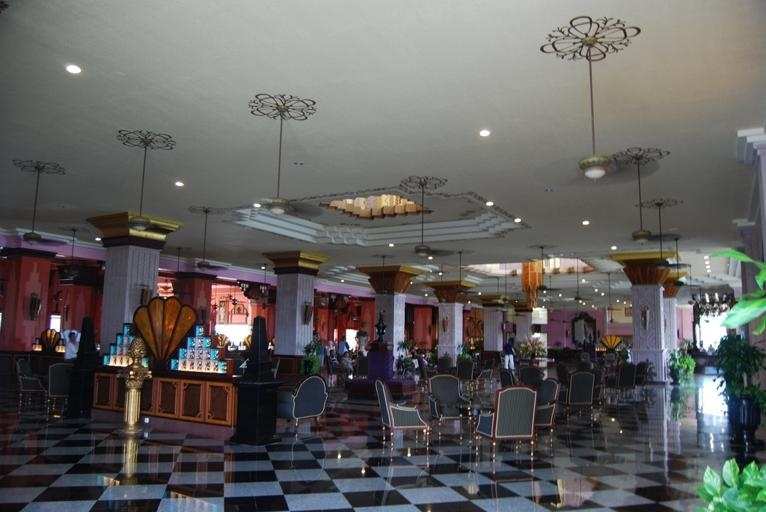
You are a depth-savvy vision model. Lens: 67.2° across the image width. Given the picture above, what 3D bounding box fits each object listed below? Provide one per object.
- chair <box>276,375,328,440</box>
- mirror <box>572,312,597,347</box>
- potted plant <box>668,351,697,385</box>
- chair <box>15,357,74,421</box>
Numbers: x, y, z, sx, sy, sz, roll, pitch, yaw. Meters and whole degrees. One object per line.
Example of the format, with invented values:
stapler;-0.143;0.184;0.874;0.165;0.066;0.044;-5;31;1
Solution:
chair;-1.574;3.008;11.932;1.036;1.383;1.134;0;-4;42
mirror;14.026;5.036;40.217;0.125;2.765;2.343;6;-9;-34
potted plant;10.826;4.019;21.006;0.638;1.160;2.343;-4;-8;30
chair;-7.959;3.165;13.593;1.256;1.557;1.187;1;-2;4
